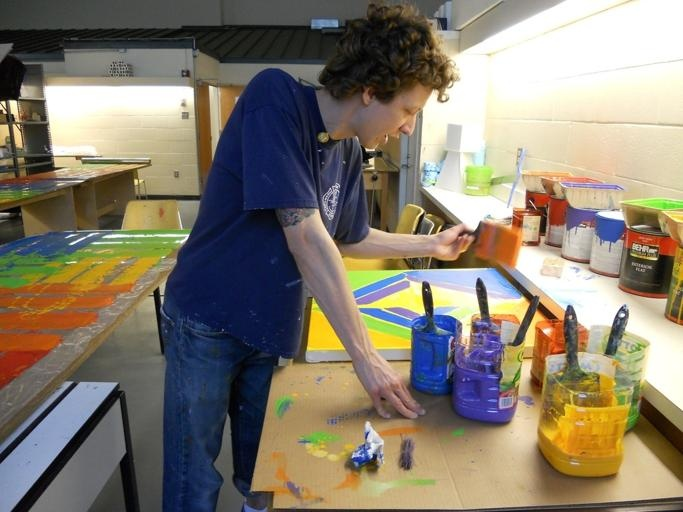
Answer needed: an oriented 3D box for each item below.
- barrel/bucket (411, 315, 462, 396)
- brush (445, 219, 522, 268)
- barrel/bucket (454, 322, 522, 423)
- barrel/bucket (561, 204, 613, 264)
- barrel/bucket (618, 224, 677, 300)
[{"bbox_3d":[0.224,0.268,1.341,0.167,0.191,0.185,1,15,3],"label":"barrel/bucket"},{"bbox_3d":[0.488,-0.075,1.614,0.060,0.136,0.350,-7,12,-24],"label":"brush"},{"bbox_3d":[0.380,0.298,1.276,0.196,0.233,0.180,0,7,0],"label":"barrel/bucket"},{"bbox_3d":[0.950,-0.088,1.911,0.187,0.209,0.190,2,12,-1],"label":"barrel/bucket"},{"bbox_3d":[1.003,0.013,1.579,0.191,0.216,0.197,1,10,0],"label":"barrel/bucket"}]
